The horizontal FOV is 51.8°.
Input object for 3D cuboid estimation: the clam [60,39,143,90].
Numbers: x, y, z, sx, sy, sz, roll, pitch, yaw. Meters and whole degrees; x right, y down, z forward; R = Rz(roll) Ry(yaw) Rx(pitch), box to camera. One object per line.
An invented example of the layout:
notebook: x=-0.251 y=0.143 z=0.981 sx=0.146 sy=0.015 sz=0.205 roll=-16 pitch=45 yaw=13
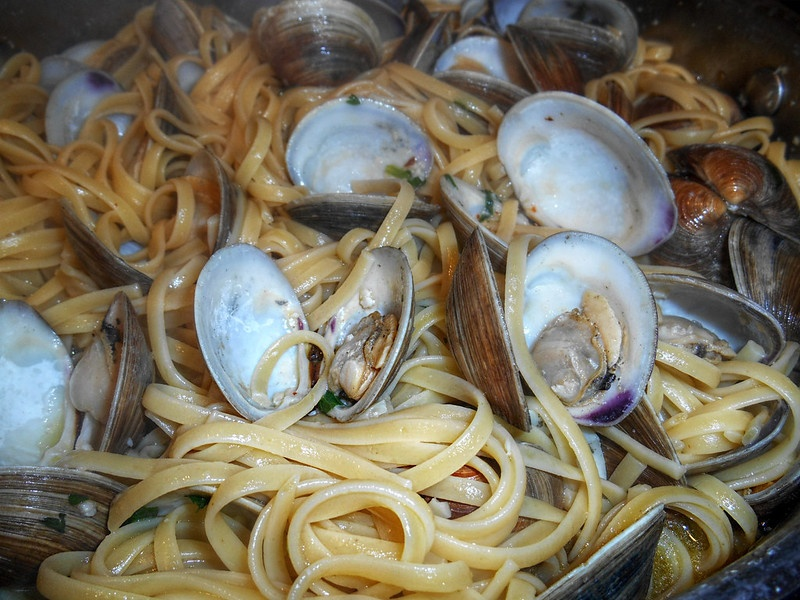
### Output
clam: x=-1.651 y=-1.390 z=4.662 sx=0.346 sy=0.148 sz=0.306 roll=9 pitch=50 yaw=3
